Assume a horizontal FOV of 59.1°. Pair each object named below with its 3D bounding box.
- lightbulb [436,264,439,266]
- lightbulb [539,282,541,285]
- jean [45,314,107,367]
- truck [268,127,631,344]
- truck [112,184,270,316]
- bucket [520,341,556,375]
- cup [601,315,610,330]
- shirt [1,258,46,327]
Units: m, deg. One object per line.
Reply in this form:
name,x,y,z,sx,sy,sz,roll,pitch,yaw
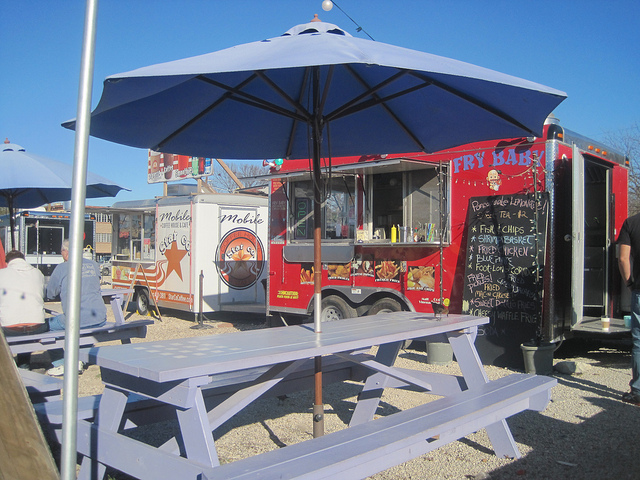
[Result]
lightbulb,1.637,0.353,7.882,0.026,0.030,0.027,0,0,21
lightbulb,2.772,0.556,7.124,0.022,0.023,0.022,-8,10,-35
jean,-2.937,1.173,6.520,1.112,0.290,1.093,2,-1,-40
truck,1.848,-0.108,8.857,4.211,2.413,3.325,1,-1,42
truck,-3.320,0.291,13.412,4.263,2.760,4.271,2,1,40
bucket,2.642,1.448,6.912,0.361,0.299,0.376,-1,-3,0
cup,3.773,1.113,7.479,0.071,0.136,0.186,2,3,32
shirt,-3.271,0.583,6.241,0.421,0.728,0.503,-1,3,-28
